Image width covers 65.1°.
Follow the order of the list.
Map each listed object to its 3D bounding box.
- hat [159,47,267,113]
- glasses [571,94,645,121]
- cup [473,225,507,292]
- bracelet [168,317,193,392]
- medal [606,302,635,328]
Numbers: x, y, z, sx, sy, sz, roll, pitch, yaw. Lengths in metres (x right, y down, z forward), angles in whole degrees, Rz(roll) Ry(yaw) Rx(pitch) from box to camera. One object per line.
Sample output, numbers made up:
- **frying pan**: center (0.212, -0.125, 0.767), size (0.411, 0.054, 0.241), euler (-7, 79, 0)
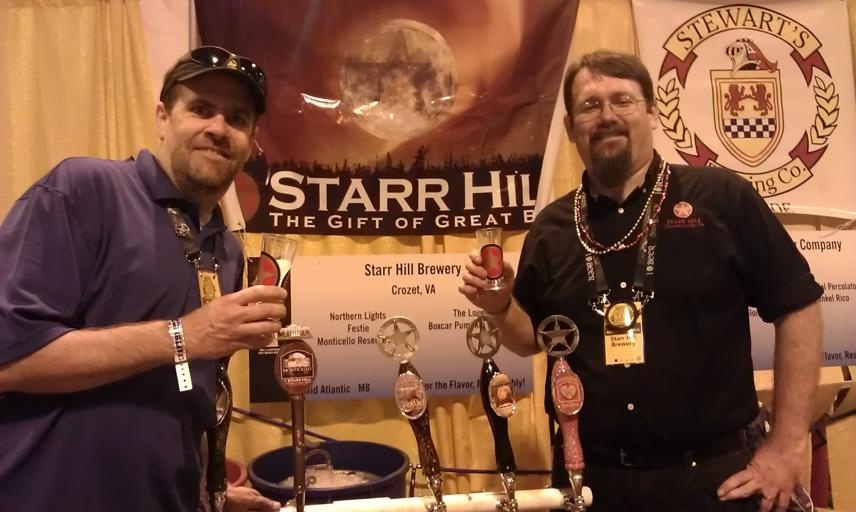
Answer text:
- **hat**: center (-1.071, -0.995, 3.614), size (0.419, 0.142, 0.430), euler (12, -3, -24)
- **glasses**: center (0.995, -0.842, 3.751), size (0.198, 0.056, 0.196), euler (-19, -5, 20)
- **cup**: center (0.315, 0.010, 3.414), size (0.120, 0.299, 0.112), euler (-2, 1, 0)
- **bracelet**: center (-1.174, 0.467, 3.170), size (0.091, 0.296, 0.065), euler (-2, 1, -17)
- **medal**: center (1.050, 0.325, 3.666), size (0.154, 0.137, 0.026), euler (-2, 1, 1)
